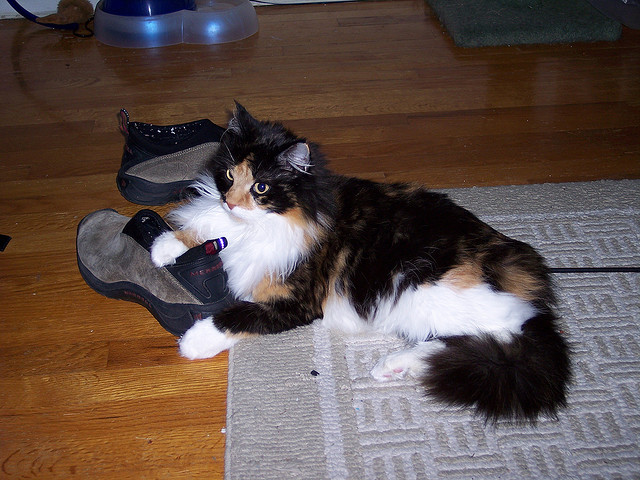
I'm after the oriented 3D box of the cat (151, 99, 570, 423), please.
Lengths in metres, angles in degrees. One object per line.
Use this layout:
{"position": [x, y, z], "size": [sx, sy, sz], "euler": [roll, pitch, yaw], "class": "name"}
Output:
{"position": [0.176, 0.063, 1.948], "size": [1.685, 0.762, 0.809], "euler": [14, 51, 14], "class": "cat"}
